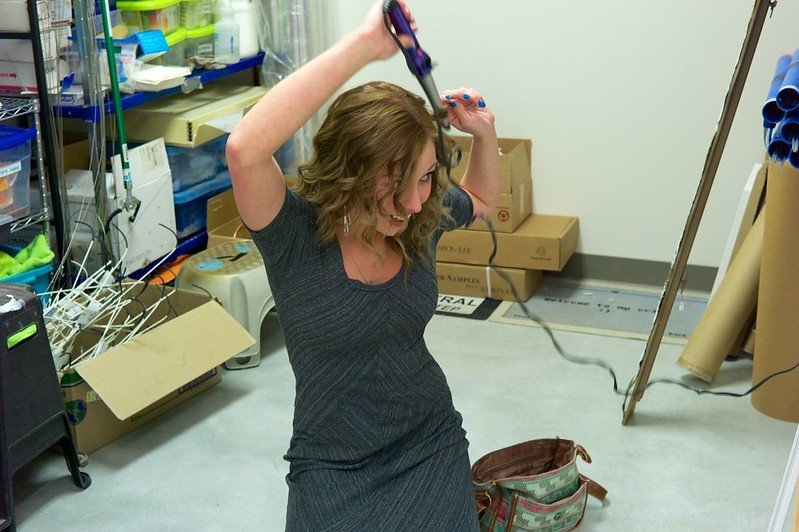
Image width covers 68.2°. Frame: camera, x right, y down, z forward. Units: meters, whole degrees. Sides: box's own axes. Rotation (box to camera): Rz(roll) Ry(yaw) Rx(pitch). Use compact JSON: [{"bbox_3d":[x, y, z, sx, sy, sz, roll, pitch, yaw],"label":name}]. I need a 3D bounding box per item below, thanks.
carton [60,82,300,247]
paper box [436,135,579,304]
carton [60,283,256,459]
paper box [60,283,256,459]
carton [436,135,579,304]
[{"bbox_3d":[-1.283,-0.833,3.679,0.807,0.920,1.398,17,33,32],"label":"carton"},{"bbox_3d":[0.576,-0.223,3.121,0.877,0.849,0.323,3,21,15],"label":"paper box"},{"bbox_3d":[-1.131,0.397,2.632,0.727,0.382,0.745,21,42,34],"label":"carton"},{"bbox_3d":[-1.117,0.606,2.770,0.727,0.382,0.745,21,42,34],"label":"paper box"},{"bbox_3d":[0.576,-0.223,3.121,0.877,0.849,0.323,3,21,15],"label":"carton"}]
